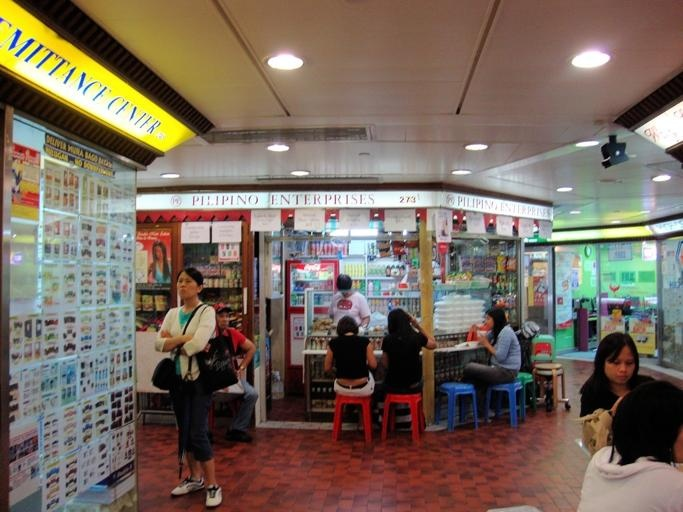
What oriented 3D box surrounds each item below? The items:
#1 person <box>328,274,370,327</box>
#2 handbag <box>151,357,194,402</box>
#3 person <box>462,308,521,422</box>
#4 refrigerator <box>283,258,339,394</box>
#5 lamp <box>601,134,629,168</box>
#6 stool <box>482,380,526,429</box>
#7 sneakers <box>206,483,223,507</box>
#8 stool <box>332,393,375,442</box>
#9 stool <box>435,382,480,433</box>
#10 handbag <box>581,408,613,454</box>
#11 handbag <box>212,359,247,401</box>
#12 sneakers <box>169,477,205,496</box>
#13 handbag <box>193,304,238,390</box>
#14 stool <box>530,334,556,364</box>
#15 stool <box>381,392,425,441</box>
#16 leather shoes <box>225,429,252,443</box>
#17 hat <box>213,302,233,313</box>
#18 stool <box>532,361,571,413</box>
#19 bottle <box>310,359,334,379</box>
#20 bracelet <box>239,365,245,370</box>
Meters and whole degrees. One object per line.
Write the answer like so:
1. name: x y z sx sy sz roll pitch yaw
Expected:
1. person: 0.108 0.716 7.743 0.592 1.336 0.454 -1 17 4
2. handbag: -1.712 1.250 5.024 0.387 0.400 0.293 -8 -32 34
3. person: 2.200 1.617 7.384 0.727 1.655 0.763 0 -1 36
4. refrigerator: -0.533 1.105 9.172 0.948 2.597 0.824 1 22 -3
5. lamp: 2.790 -1.085 5.169 0.283 0.340 0.102 -1 -10 12
6. stool: 2.379 2.127 7.390 0.614 0.562 0.621 1 -5 -17
7. sneakers: -1.219 2.316 4.882 0.165 0.187 0.122 0 0 -22
8. stool: 0.175 2.076 6.710 0.563 0.611 0.595 -1 -6 9
9. stool: 1.628 2.099 7.080 0.519 0.585 0.548 -1 -1 23
10. handbag: 1.678 1.192 3.434 0.210 0.281 0.278 0 1 20
11. handbag: -1.373 1.640 6.416 0.537 0.585 0.169 -5 -17 7
12. sneakers: -1.578 2.353 5.164 0.310 0.132 0.121 7 -8 -40
13. handbag: -1.202 1.046 4.857 0.364 0.541 0.144 0 -1 -38
14. stool: 3.287 1.525 8.274 0.412 0.453 0.439 0 -2 12
15. stool: 0.812 2.095 6.697 0.622 0.570 0.637 1 -3 -29
16. leather shoes: -1.337 2.354 6.665 0.400 0.189 0.142 0 2 6
17. hat: -1.531 0.666 6.449 0.200 0.116 0.325 0 -5 -31
18. stool: 3.444 2.089 8.168 0.696 0.845 0.733 -1 -7 1
19. bottle: -0.283 1.685 7.287 0.315 0.343 0.331 0 0 -4
20. bracelet: -1.254 1.425 6.369 0.060 0.076 0.082 -5 -30 -3
